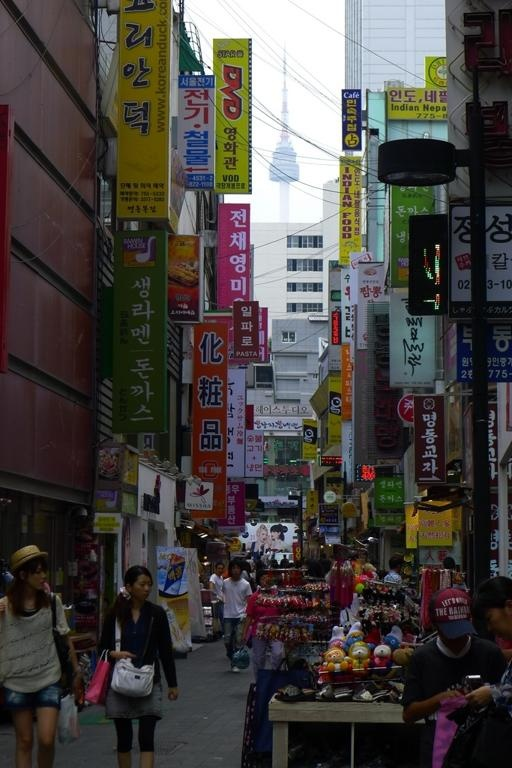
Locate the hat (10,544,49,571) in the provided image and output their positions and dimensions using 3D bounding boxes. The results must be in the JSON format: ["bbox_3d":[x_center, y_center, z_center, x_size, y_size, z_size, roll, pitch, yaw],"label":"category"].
[{"bbox_3d":[-1.287,0.977,6.265,0.183,0.130,0.278,-1,-6,-14],"label":"hat"}]

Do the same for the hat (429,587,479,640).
[{"bbox_3d":[0.762,0.884,4.323,0.119,0.121,0.210,-7,29,-1],"label":"hat"}]

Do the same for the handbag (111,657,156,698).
[{"bbox_3d":[-0.698,1.642,6.236,0.166,0.196,0.096,8,-14,-11],"label":"handbag"}]

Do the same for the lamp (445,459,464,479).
[{"bbox_3d":[4.508,1.897,25.145,0.256,0.283,0.526,-7,17,15],"label":"lamp"}]

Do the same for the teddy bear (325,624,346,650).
[{"bbox_3d":[0.608,1.872,8.266,0.124,0.227,0.209,1,-20,2],"label":"teddy bear"}]

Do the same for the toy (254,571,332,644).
[{"bbox_3d":[0.351,2.039,10.302,0.688,0.577,1.459,-2,-6,1],"label":"toy"}]

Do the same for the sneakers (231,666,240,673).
[{"bbox_3d":[-0.287,4.072,15.961,0.081,0.104,0.209,0,-13,-4],"label":"sneakers"}]

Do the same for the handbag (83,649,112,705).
[{"bbox_3d":[-0.948,1.693,6.399,0.166,0.299,0.247,2,-7,-34],"label":"handbag"}]

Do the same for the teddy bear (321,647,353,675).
[{"bbox_3d":[0.524,1.823,7.314,0.150,0.187,0.133,-3,-47,6],"label":"teddy bear"}]

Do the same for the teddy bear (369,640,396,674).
[{"bbox_3d":[0.819,1.788,7.287,0.163,0.235,0.131,2,-37,4],"label":"teddy bear"}]

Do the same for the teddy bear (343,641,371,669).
[{"bbox_3d":[0.660,1.780,7.306,0.117,0.188,0.120,2,-23,2],"label":"teddy bear"}]

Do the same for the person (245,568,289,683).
[{"bbox_3d":[0.090,2.578,11.777,0.387,1.368,0.374,0,19,10],"label":"person"}]

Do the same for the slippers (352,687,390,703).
[{"bbox_3d":[0.714,1.913,6.900,0.208,0.084,0.089,5,-13,-10],"label":"slippers"}]
